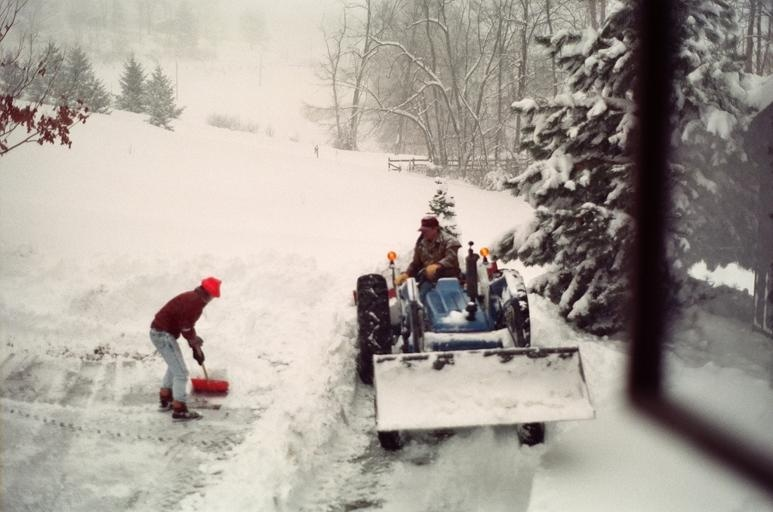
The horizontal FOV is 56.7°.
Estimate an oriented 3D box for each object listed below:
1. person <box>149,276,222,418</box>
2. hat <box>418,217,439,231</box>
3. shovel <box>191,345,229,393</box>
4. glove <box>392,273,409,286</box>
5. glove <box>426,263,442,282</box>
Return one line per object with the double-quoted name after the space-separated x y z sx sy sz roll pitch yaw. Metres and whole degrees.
-3.859 1.711 13.478 1.123 2.539 0.793 -2 9 -18 "person"
0.917 -0.687 15.373 0.339 0.199 0.257 -1 10 -6 "hat"
-3.612 2.355 14.578 0.633 1.077 0.986 6 -14 -33 "shovel"
0.334 0.463 14.978 0.216 0.111 0.295 -31 -3 33 "glove"
0.936 0.326 14.646 0.334 0.128 0.243 -46 11 49 "glove"
